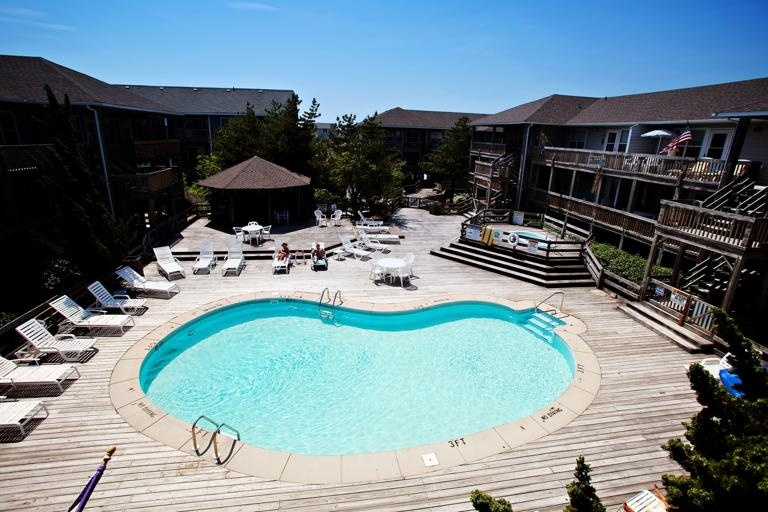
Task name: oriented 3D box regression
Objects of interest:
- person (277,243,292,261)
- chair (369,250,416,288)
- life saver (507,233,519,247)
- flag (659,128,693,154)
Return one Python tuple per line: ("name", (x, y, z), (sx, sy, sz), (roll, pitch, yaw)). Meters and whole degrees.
("person", (-5.910, -0.264, 23.284), (0.679, 0.823, 1.123), (-4, 21, -15))
("chair", (0.480, 0.760, 22.106), (2.252, 1.088, 1.841), (4, 26, 7))
("life saver", (8.147, -0.986, 24.383), (0.254, 0.727, 0.770), (6, 10, -45))
("flag", (16.374, -6.264, 21.816), (0.833, 1.210, 2.830), (17, 25, 34))
